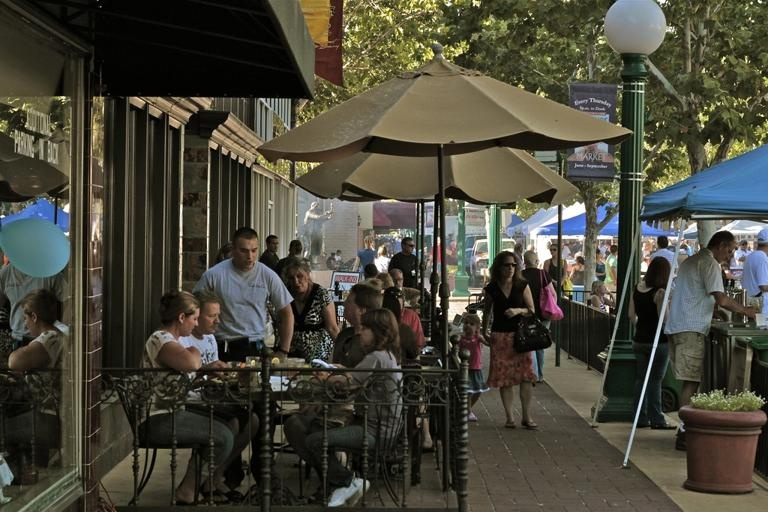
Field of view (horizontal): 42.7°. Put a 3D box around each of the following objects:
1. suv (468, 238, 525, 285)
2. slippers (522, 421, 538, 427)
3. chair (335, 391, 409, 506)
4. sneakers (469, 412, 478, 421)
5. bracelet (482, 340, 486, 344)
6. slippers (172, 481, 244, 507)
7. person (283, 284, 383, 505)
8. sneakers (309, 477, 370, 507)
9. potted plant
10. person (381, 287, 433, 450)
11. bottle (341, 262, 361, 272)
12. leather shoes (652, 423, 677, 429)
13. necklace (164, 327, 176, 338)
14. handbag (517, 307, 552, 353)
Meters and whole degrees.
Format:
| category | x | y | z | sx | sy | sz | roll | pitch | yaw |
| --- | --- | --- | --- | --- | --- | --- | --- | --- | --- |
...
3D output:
| category | x | y | z | sx | sy | sz | roll | pitch | yaw |
| --- | --- | --- | --- | --- | --- | --- | --- | --- | --- |
| suv | 5.432 | 0.339 | 50.306 | 2.084 | 2.029 | 4.325 | -1 | -1 | -3 |
| slippers | 1.917 | 2.218 | 13.021 | 0.181 | 0.052 | 0.080 | -6 | -4 | 32 |
| chair | -0.195 | 1.789 | 9.327 | 0.707 | 1.135 | 0.520 | 2 | -3 | -2 |
| sneakers | 1.227 | 2.225 | 13.653 | 0.098 | 0.101 | 0.251 | -1 | -11 | 1 |
| bracelet | 1.331 | 1.142 | 13.137 | 0.053 | 0.017 | 0.040 | 23 | -11 | -20 |
| slippers | -1.766 | 2.356 | 9.680 | 0.648 | 0.182 | 0.262 | -15 | -23 | 39 |
| person | -0.407 | 1.462 | 9.855 | 1.070 | 2.234 | 0.824 | -5 | 14 | -26 |
| sneakers | -0.380 | 2.235 | 9.312 | 0.190 | 0.261 | 0.473 | -1 | -4 | 45 |
| potted plant | 3.666 | 2.002 | 10.943 | 0.967 | 1.118 | 0.998 | 0 | -2 | 13 |
| person | 0.313 | 1.012 | 10.785 | 0.420 | 1.493 | 0.560 | 9 | 28 | -5 |
| bottle | -1.189 | 0.353 | 34.210 | 0.401 | 0.288 | 0.404 | -1 | 5 | 0 |
| leather shoes | 3.695 | 2.265 | 13.052 | 0.325 | 0.095 | 0.120 | -4 | 1 | -1 |
| necklace | -2.046 | 0.726 | 9.378 | 0.078 | 0.095 | 0.094 | 1 | 4 | 9 |
| handbag | 1.897 | 0.950 | 12.714 | 0.469 | 0.494 | 0.234 | -9 | -6 | 1 |
